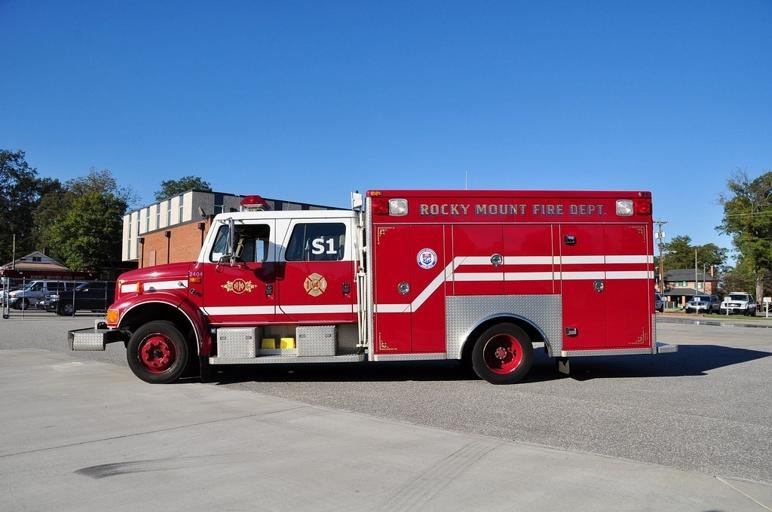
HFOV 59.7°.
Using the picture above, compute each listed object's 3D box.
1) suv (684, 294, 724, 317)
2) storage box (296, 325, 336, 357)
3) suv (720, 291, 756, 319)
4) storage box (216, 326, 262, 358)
[{"bbox_3d":[24.018,3.649,51.264,1.496,1.144,3.168,-8,-13,40],"label":"suv"},{"bbox_3d":[-1.425,1.660,13.407,0.926,0.743,0.523,1,-5,-6],"label":"storage box"},{"bbox_3d":[24.181,3.270,46.163,1.404,1.203,2.659,-6,-12,37],"label":"suv"},{"bbox_3d":[-2.929,1.715,13.223,0.602,0.633,0.465,0,-2,-5],"label":"storage box"}]
